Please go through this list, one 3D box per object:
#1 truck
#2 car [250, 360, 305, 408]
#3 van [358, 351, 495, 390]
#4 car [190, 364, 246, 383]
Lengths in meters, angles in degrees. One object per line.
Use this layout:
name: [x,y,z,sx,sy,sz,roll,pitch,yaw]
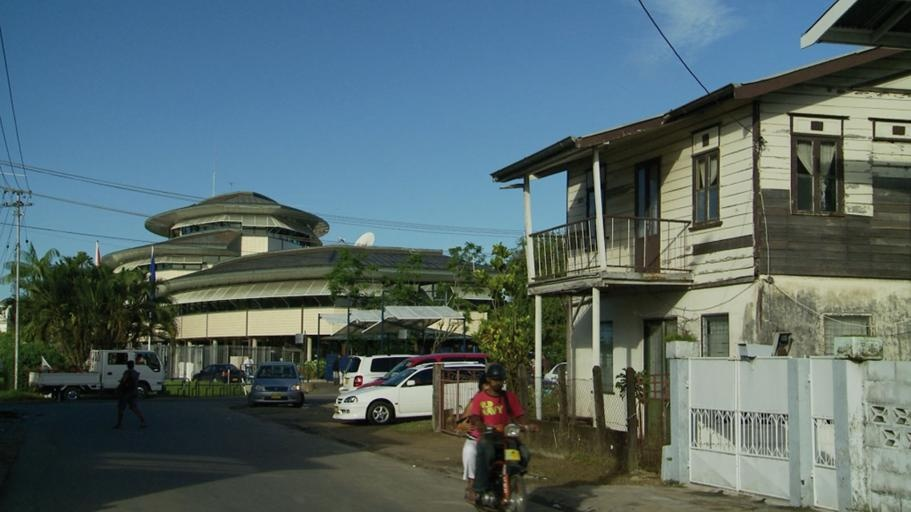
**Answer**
truck: [-18.674,6.213,51.387,8.963,3.306,3.756,1,-2,-13]
car: [-8.582,6.139,47.549,1.974,1.729,4.432,1,-4,-12]
van: [-1.372,4.958,42.813,4.720,1.633,1.802,2,-5,-22]
car: [-15.664,7.719,64.758,3.108,1.100,1.425,1,-4,20]
